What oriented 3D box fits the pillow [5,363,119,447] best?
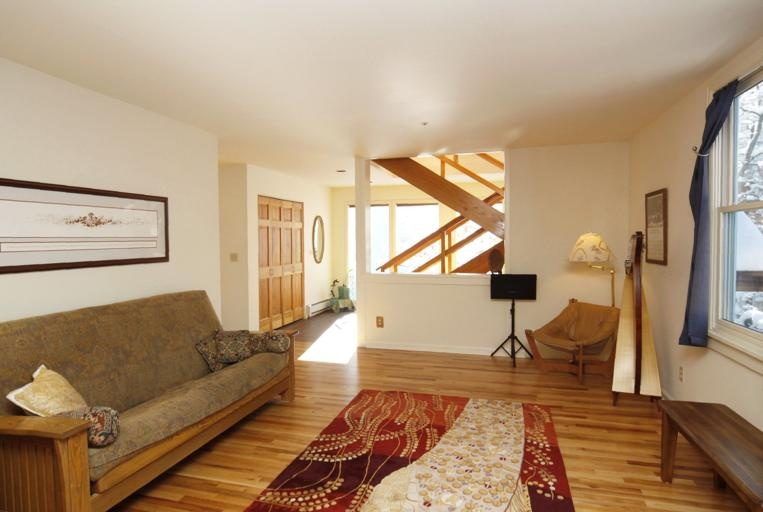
[{"bbox_3d":[-2.324,1.104,3.727,0.823,0.520,0.346,0,2,12],"label":"pillow"}]

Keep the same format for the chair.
[{"bbox_3d":[2.276,0.983,6.074,1.004,0.873,0.947,1,2,23],"label":"chair"}]

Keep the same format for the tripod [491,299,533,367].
[{"bbox_3d":[1.702,0.957,6.587,0.598,0.661,0.587,-5,-12,40],"label":"tripod"}]

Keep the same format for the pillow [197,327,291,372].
[{"bbox_3d":[-1.430,0.913,5.138,0.529,0.150,0.490,-3,10,-35],"label":"pillow"}]

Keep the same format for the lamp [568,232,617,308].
[{"bbox_3d":[2.546,0.166,6.112,0.502,0.917,0.754,1,2,24],"label":"lamp"}]
